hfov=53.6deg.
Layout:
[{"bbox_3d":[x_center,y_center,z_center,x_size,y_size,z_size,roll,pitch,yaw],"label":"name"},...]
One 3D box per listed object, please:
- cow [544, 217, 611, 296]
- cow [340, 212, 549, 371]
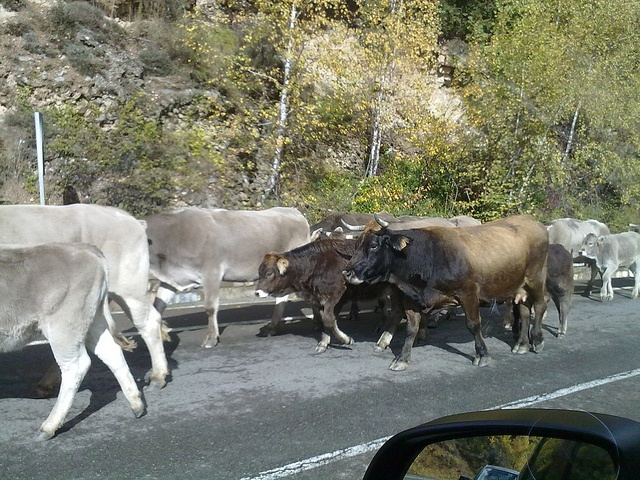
[{"bbox_3d":[7.468,0.382,19.222,3.638,1.926,1.039,-3,4,-31],"label":"cow"},{"bbox_3d":[2.290,0.832,10.796,3.625,2.395,1.352,-2,8,-26],"label":"cow"}]
